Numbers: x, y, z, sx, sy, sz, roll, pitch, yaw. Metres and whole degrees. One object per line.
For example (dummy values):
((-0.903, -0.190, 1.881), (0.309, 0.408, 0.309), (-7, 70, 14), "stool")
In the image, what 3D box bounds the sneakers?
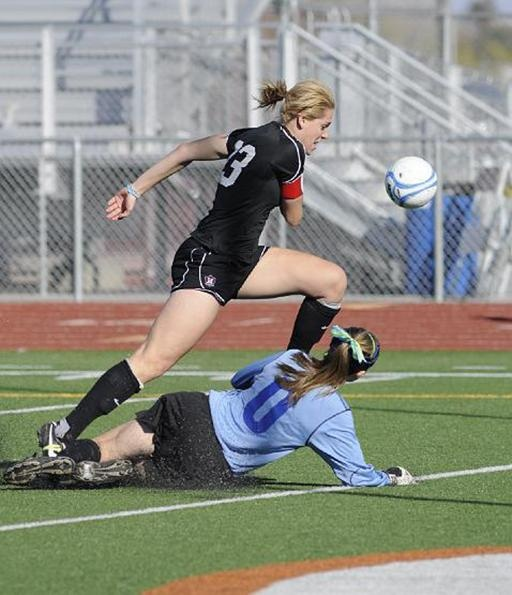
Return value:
((-0.763, 0.684, 4.159), (0.733, 0.252, 0.195), (-3, 0, -5), "sneakers")

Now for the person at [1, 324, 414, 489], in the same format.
((-0.207, 0.548, 4.178), (1.601, 0.514, 0.718), (-7, 29, -9), "person")

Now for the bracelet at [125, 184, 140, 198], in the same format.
((-0.605, -0.495, 4.626), (0.077, 0.029, 0.061), (42, 11, 9), "bracelet")

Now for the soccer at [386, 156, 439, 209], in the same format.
((0.966, -0.715, 6.047), (0.307, 0.324, 0.233), (0, 4, 6), "soccer")
